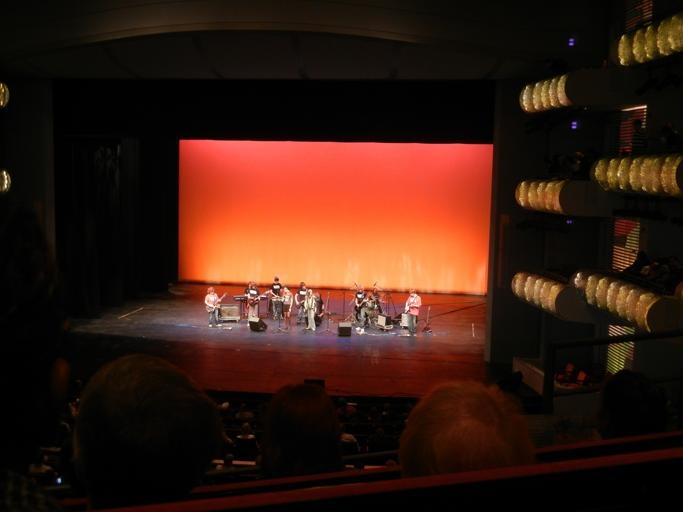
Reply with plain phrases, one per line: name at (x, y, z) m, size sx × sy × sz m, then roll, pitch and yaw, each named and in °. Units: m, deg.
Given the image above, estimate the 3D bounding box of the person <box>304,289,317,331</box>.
person at (-0.832, 1.423, 14.669) m, size 0.351 × 1.005 × 0.532 m, roll 3°, pitch 2°, yaw -3°

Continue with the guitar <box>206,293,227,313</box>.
guitar at (-3.494, 1.262, 15.038) m, size 0.390 × 0.510 × 0.532 m, roll 4°, pitch 2°, yaw 9°

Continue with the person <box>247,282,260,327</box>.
person at (-2.430, 1.275, 15.100) m, size 0.329 × 0.998 × 1.672 m, roll 3°, pitch 3°, yaw -10°

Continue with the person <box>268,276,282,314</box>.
person at (-1.824, 1.177, 15.728) m, size 0.370 × 1.236 × 0.385 m, roll -1°, pitch 17°, yaw 2°

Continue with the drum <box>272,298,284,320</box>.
drum at (-1.785, 1.500, 15.493) m, size 0.467 × 0.700 × 0.489 m, roll 0°, pitch 0°, yaw 0°

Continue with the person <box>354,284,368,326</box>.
person at (0.570, 1.374, 15.292) m, size 0.377 × 1.160 × 0.367 m, roll -10°, pitch 21°, yaw -9°
